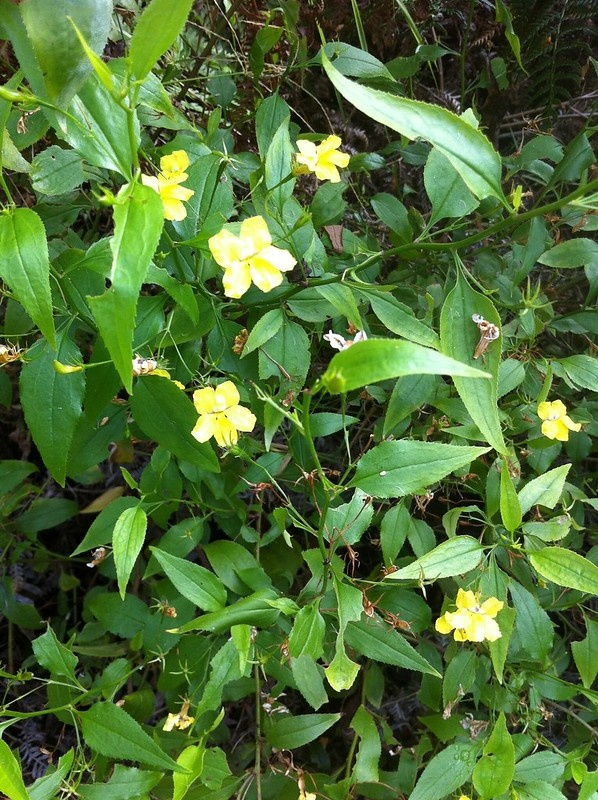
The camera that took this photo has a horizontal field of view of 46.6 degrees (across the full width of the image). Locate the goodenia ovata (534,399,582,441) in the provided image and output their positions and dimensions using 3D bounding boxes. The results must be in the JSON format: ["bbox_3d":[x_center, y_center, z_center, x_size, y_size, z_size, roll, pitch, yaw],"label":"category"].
[{"bbox_3d":[0.467,0.038,1.257,0.093,0.040,0.049,26,37,-9],"label":"goodenia ovata"}]
